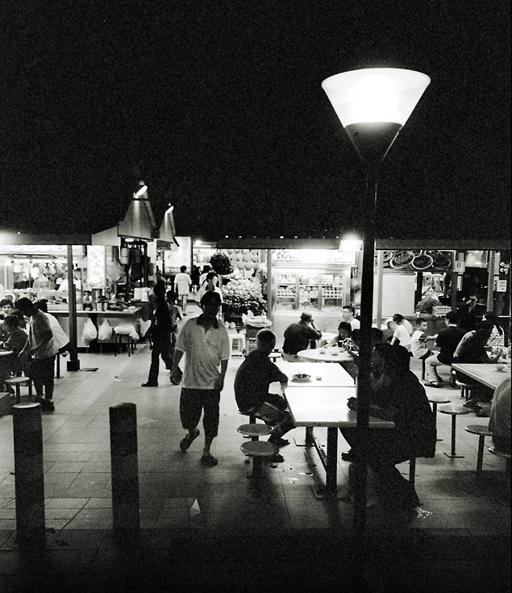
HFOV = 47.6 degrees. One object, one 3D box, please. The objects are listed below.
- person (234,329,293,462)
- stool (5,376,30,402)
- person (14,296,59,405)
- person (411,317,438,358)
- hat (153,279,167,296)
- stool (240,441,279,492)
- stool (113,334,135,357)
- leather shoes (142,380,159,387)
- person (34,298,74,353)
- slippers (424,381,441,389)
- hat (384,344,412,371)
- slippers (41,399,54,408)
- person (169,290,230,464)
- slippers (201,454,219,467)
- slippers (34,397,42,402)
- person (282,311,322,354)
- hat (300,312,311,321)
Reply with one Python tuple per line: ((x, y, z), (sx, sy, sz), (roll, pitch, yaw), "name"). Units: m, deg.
((0.090, 0.954, 5.605), (0.644, 1.190, 0.453), (-4, 7, -25), "person")
((-3.093, 1.196, 7.502), (0.275, 0.319, 0.298), (19, 19, 33), "stool")
((-2.746, 0.714, 7.279), (0.446, 1.450, 1.000), (0, 3, -19), "person")
((2.703, 0.730, 9.344), (0.426, 0.752, 0.353), (-2, -2, 19), "person")
((-1.638, -0.160, 9.885), (0.230, 0.250, 0.422), (2, 6, -5), "hat")
((0.018, 1.376, 4.802), (0.360, 0.373, 0.367), (0, 6, -2), "stool")
((-2.793, 1.023, 12.290), (0.426, 0.465, 0.400), (0, 1, -11), "stool")
((-1.597, 1.312, 8.806), (0.272, 0.119, 0.094), (3, -1, 10), "leather shoes")
((-2.834, 0.489, 7.862), (0.380, 0.908, 0.374), (10, -27, -38), "person")
((2.658, 1.326, 8.739), (0.203, 0.087, 0.077), (0, 0, 21), "slippers")
((1.086, 0.445, 4.369), (0.150, 0.208, 0.070), (-1, 41, 26), "hat")
((-2.600, 1.333, 7.249), (0.107, 0.113, 0.030), (8, -38, -17), "slippers")
((-0.533, 0.733, 5.445), (0.514, 1.598, 0.881), (1, 3, -8), "person")
((-0.423, 1.487, 5.274), (0.142, 0.090, 0.084), (0, 6, -9), "slippers")
((-2.771, 1.314, 7.413), (0.084, 0.079, 0.021), (3, -15, 8), "slippers")
((0.673, 0.637, 8.641), (0.444, 0.809, 0.406), (-1, 18, -38), "person")
((0.745, 0.282, 8.598), (0.134, 0.123, 0.102), (-17, 35, -27), "hat")
